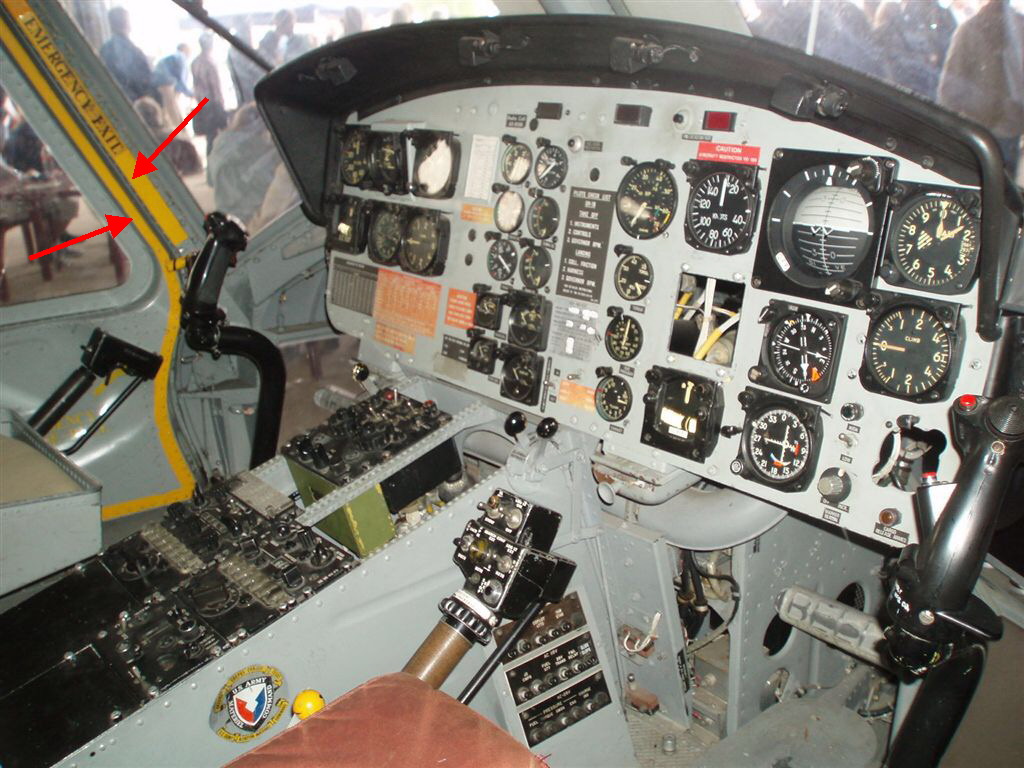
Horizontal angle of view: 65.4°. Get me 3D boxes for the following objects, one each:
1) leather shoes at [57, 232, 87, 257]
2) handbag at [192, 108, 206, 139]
[{"bbox_3d":[-2.329,-0.729,4.212,0.154,0.083,0.046,37,32,-15],"label":"leather shoes"},{"bbox_3d":[-1.806,-1.494,4.566,0.029,0.111,0.113,7,9,24],"label":"handbag"}]
